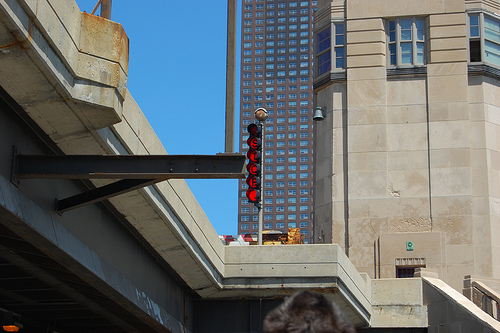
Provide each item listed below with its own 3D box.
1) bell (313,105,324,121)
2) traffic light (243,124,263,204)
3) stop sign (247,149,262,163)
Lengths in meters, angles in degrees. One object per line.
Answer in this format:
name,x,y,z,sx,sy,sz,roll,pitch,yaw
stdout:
bell,3.696,-3.008,50.178,0.617,0.688,0.616,11,-16,-32
traffic light,0.190,-0.020,29.707,0.861,3.071,0.519,-9,-25,22
stop sign,0.099,-0.374,29.367,0.471,0.502,0.629,5,-39,0
